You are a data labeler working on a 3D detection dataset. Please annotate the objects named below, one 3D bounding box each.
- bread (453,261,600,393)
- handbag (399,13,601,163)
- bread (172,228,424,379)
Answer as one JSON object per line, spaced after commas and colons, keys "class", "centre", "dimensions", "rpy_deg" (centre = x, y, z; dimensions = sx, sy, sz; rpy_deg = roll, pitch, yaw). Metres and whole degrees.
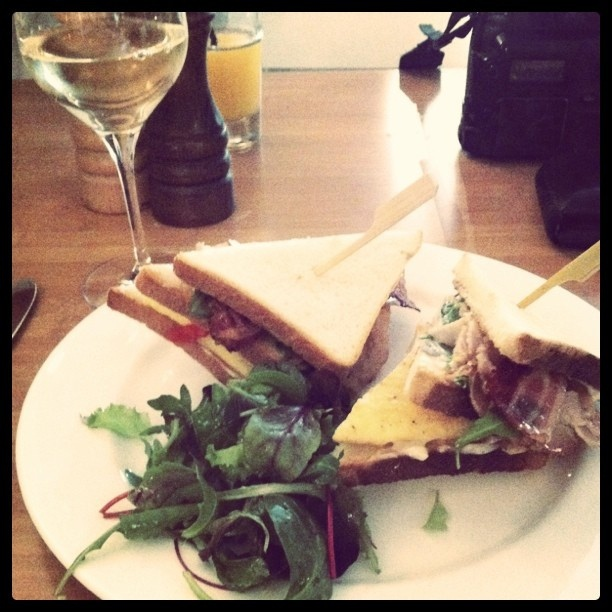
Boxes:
{"class": "bread", "centre": [0.342, 0.070, 1.055], "dimensions": [0.221, 0.065, 0.231], "rpy_deg": [27, 18, -22]}
{"class": "handbag", "centre": [0.595, -0.574, 1.618], "dimensions": [0.367, 0.415, 0.270], "rpy_deg": [7, 14, 18]}
{"class": "bread", "centre": [-0.010, -0.023, 1.240], "dimensions": [0.298, 0.102, 0.345], "rpy_deg": [3, 24, 13]}
